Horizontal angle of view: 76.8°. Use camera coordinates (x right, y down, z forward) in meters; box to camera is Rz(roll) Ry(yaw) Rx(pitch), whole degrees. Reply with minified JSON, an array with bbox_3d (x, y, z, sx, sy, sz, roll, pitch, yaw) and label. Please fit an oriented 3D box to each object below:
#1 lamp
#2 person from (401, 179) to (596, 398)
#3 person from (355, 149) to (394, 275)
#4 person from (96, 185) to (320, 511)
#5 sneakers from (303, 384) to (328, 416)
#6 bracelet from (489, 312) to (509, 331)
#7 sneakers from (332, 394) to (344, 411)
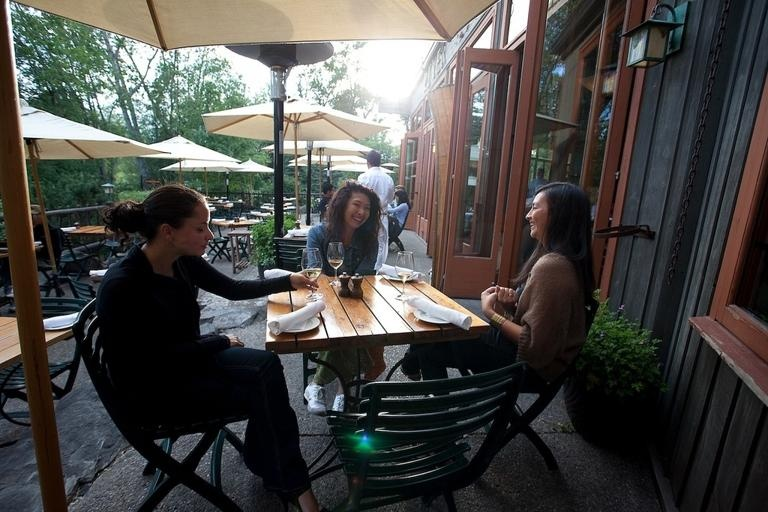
[{"bbox_3d":[2.165,-1.789,3.918,0.372,0.472,0.312,-4,11,-15],"label":"lamp"},{"bbox_3d":[0.827,0.315,3.676,1.432,1.668,1.027,7,0,33],"label":"person"},{"bbox_3d":[0.063,-0.824,7.997,0.642,1.828,0.595,-13,25,3],"label":"person"},{"bbox_3d":[-1.137,0.543,3.105,1.091,1.968,0.799,-3,11,-10],"label":"person"},{"bbox_3d":[-0.526,1.114,3.756,0.137,0.146,0.370,30,-19,-20],"label":"sneakers"},{"bbox_3d":[0.797,0.451,3.345,0.084,0.060,0.110,0,13,-18],"label":"bracelet"},{"bbox_3d":[-0.326,1.094,3.619,0.078,0.107,0.236,3,-16,-3],"label":"sneakers"}]
